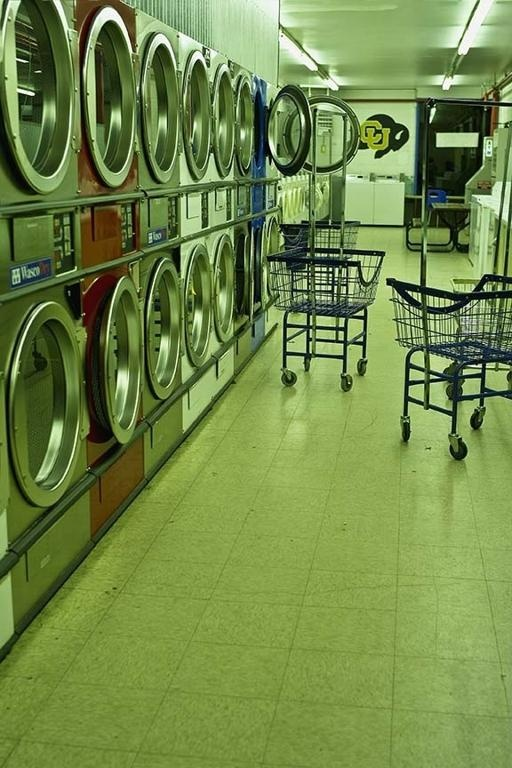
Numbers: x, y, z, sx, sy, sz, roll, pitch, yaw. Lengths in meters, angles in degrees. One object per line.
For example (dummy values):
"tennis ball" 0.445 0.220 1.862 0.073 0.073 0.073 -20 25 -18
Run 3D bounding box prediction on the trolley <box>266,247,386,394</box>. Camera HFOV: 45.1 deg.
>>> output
"trolley" 0.560 -0.554 5.113 0.750 1.197 1.097 6 13 32

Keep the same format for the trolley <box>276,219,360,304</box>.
"trolley" 0.625 -1.285 6.354 0.858 0.553 0.637 2 10 10
